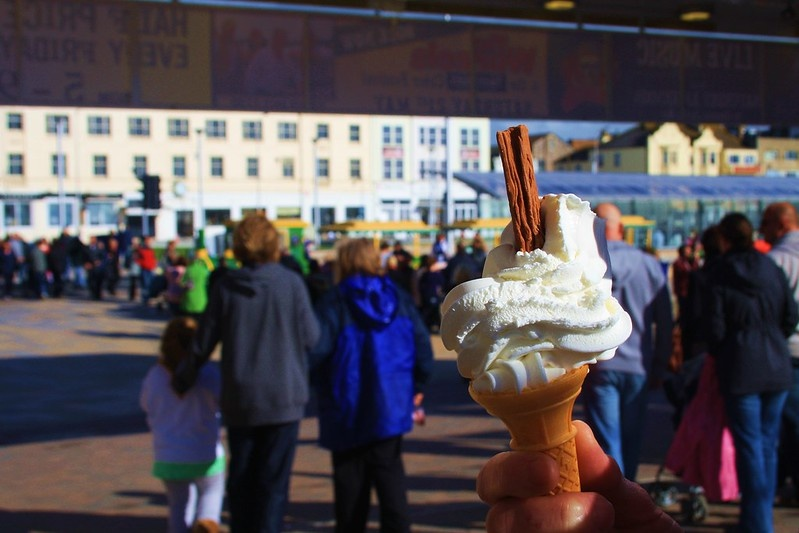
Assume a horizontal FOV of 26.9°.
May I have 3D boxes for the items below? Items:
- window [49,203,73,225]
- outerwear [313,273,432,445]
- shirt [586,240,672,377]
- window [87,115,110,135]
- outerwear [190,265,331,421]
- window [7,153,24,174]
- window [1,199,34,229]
[{"bbox_3d":[-3.375,-0.509,16.270,0.049,0.209,0.212,15,10,37],"label":"window"},{"bbox_3d":[-0.429,0.854,15.158,1.529,1.892,1.225,-1,-5,-8],"label":"outerwear"},{"bbox_3d":[1.945,0.396,14.304,1.059,1.270,0.713,0,10,7],"label":"shirt"},{"bbox_3d":[-3.000,-1.406,16.357,0.204,0.025,0.215,-4,-37,-12],"label":"window"},{"bbox_3d":[-1.271,0.648,14.803,1.143,1.477,0.996,-5,0,-11],"label":"outerwear"},{"bbox_3d":[-3.653,-0.974,15.608,0.179,0.251,0.024,-1,9,-18],"label":"window"},{"bbox_3d":[-3.673,-0.507,15.753,0.253,0.267,0.013,-7,15,-34],"label":"window"}]
